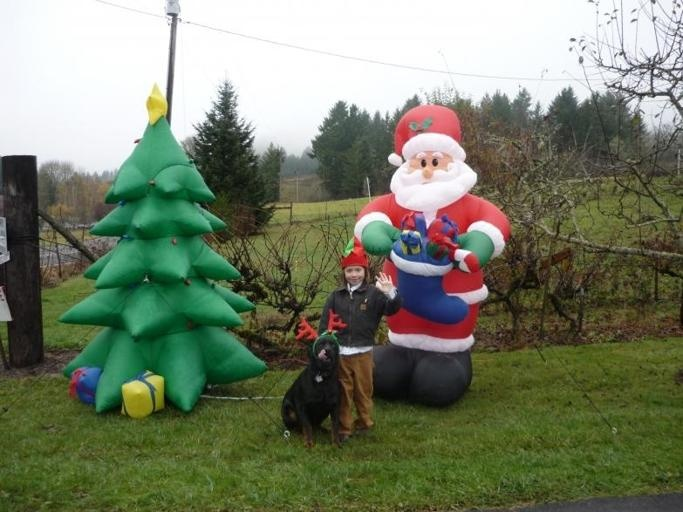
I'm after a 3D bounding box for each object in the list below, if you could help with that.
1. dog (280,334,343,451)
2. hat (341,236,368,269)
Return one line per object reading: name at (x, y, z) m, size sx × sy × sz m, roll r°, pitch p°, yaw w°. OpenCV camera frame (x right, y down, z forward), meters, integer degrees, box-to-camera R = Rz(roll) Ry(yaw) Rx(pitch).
dog at (-0.350, 1.662, 8.578) m, size 0.721 × 1.469 × 1.176 m, roll 6°, pitch -2°, yaw -19°
hat at (0.175, -0.005, 8.543) m, size 0.269 × 0.341 × 0.385 m, roll 1°, pitch 5°, yaw -1°
